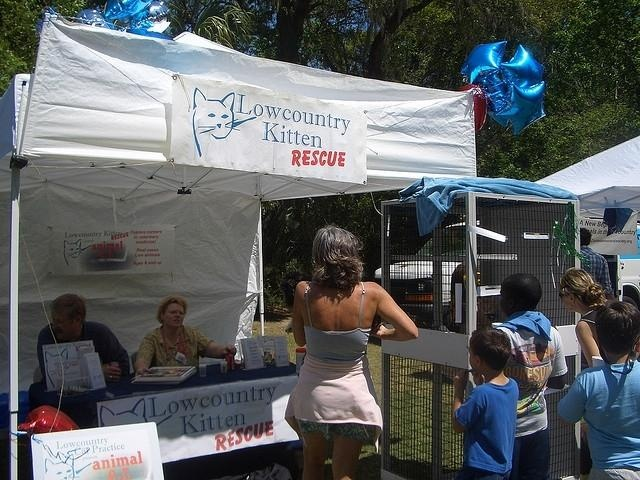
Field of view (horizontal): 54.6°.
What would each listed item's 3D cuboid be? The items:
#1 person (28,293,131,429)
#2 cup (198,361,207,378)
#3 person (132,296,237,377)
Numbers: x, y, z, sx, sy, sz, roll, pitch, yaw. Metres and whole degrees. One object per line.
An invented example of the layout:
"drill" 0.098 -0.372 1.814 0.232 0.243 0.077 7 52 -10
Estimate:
"person" -2.214 1.100 5.564 0.784 1.295 0.611 -5 -34 -21
"cup" -1.087 1.184 5.622 0.091 0.118 0.100 1 3 0
"person" -1.362 0.804 6.029 0.828 1.087 0.686 0 -5 -38
